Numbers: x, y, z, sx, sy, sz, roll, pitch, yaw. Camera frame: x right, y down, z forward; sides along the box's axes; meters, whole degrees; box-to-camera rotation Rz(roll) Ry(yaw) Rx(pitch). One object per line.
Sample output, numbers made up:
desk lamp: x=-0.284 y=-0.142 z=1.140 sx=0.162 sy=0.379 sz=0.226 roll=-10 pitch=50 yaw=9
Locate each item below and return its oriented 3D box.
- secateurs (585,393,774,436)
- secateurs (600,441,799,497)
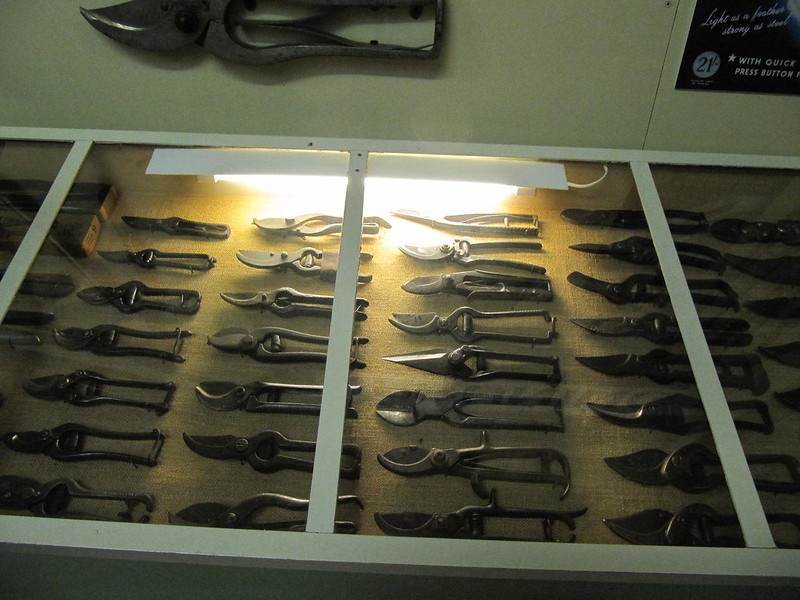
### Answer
secateurs: x=0.682 y=0.329 z=1.942 sx=0.651 sy=0.134 sz=0.081 roll=-1 pitch=-35 yaw=4
secateurs: x=0.824 y=0.455 z=1.854 sx=0.520 sy=0.130 sz=0.075 roll=4 pitch=-9 yaw=1
